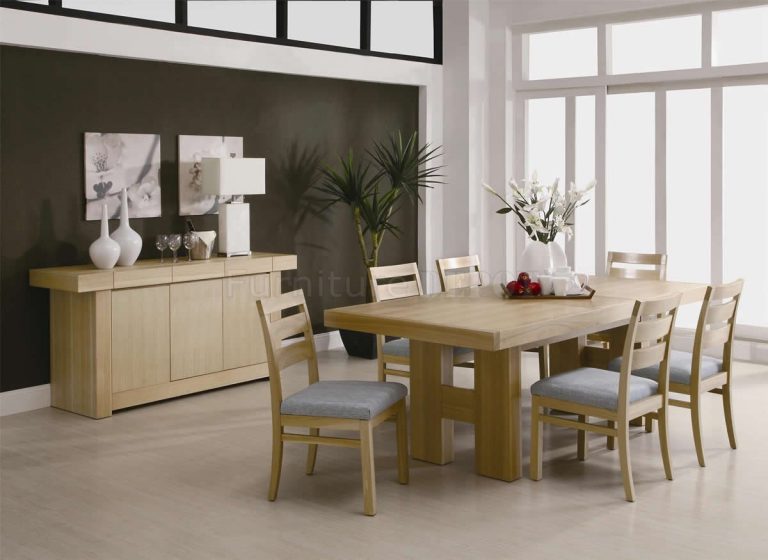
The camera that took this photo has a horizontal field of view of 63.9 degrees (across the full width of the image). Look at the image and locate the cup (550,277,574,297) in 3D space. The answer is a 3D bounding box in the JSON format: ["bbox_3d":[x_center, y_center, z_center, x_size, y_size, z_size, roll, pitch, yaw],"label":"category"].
[{"bbox_3d":[1.209,0.042,4.120,0.146,0.102,0.095,2,-2,-17],"label":"cup"}]

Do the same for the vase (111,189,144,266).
[{"bbox_3d":[-2.045,-0.418,4.842,0.346,0.604,0.341,-4,19,-32],"label":"vase"}]

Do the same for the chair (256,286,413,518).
[{"bbox_3d":[-0.248,0.629,3.401,0.704,1.105,0.519,2,9,18],"label":"chair"}]

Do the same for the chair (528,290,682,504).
[{"bbox_3d":[1.321,0.629,3.603,0.683,1.054,0.624,2,4,43],"label":"chair"}]

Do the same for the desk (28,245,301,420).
[{"bbox_3d":[-1.503,0.488,5.219,1.942,1.086,0.528,-8,-16,7],"label":"desk"}]

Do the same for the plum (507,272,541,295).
[{"bbox_3d":[0.983,0.024,4.204,0.141,0.107,0.187,-4,0,34],"label":"plum"}]

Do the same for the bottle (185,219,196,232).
[{"bbox_3d":[-1.740,-0.504,5.573,0.027,0.104,0.096,5,10,33],"label":"bottle"}]

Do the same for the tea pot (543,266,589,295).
[{"bbox_3d":[1.246,-0.012,4.196,0.273,0.116,0.196,-5,7,-43],"label":"tea pot"}]

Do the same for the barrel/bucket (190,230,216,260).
[{"bbox_3d":[-1.522,-0.295,5.251,0.226,0.219,0.208,1,-5,0],"label":"barrel/bucket"}]

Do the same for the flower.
[{"bbox_3d":[1.153,-0.485,4.516,0.551,0.441,0.723,-7,10,-22],"label":"flower"}]

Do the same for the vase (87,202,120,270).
[{"bbox_3d":[-2.154,-0.339,4.779,0.211,0.480,0.342,-3,8,-13],"label":"vase"}]

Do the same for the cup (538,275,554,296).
[{"bbox_3d":[1.102,0.047,4.164,0.116,0.125,0.120,0,2,0],"label":"cup"}]

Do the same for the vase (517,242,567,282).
[{"bbox_3d":[1.162,-0.131,4.433,0.288,0.268,0.288,-1,1,-20],"label":"vase"}]
